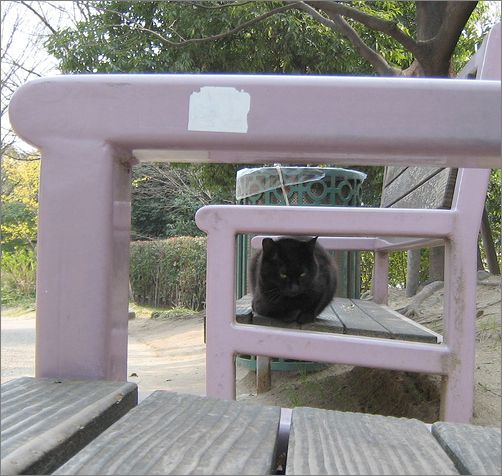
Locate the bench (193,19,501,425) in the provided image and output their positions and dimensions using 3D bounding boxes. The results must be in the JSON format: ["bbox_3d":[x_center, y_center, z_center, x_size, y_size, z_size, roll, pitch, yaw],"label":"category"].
[{"bbox_3d":[0.169,0.054,1.760,0.796,1.140,0.754,1,-6,4],"label":"bench"}]

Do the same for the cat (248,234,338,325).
[{"bbox_3d":[0.189,0.188,2.532,0.260,0.260,0.462,-4,5,1],"label":"cat"}]
